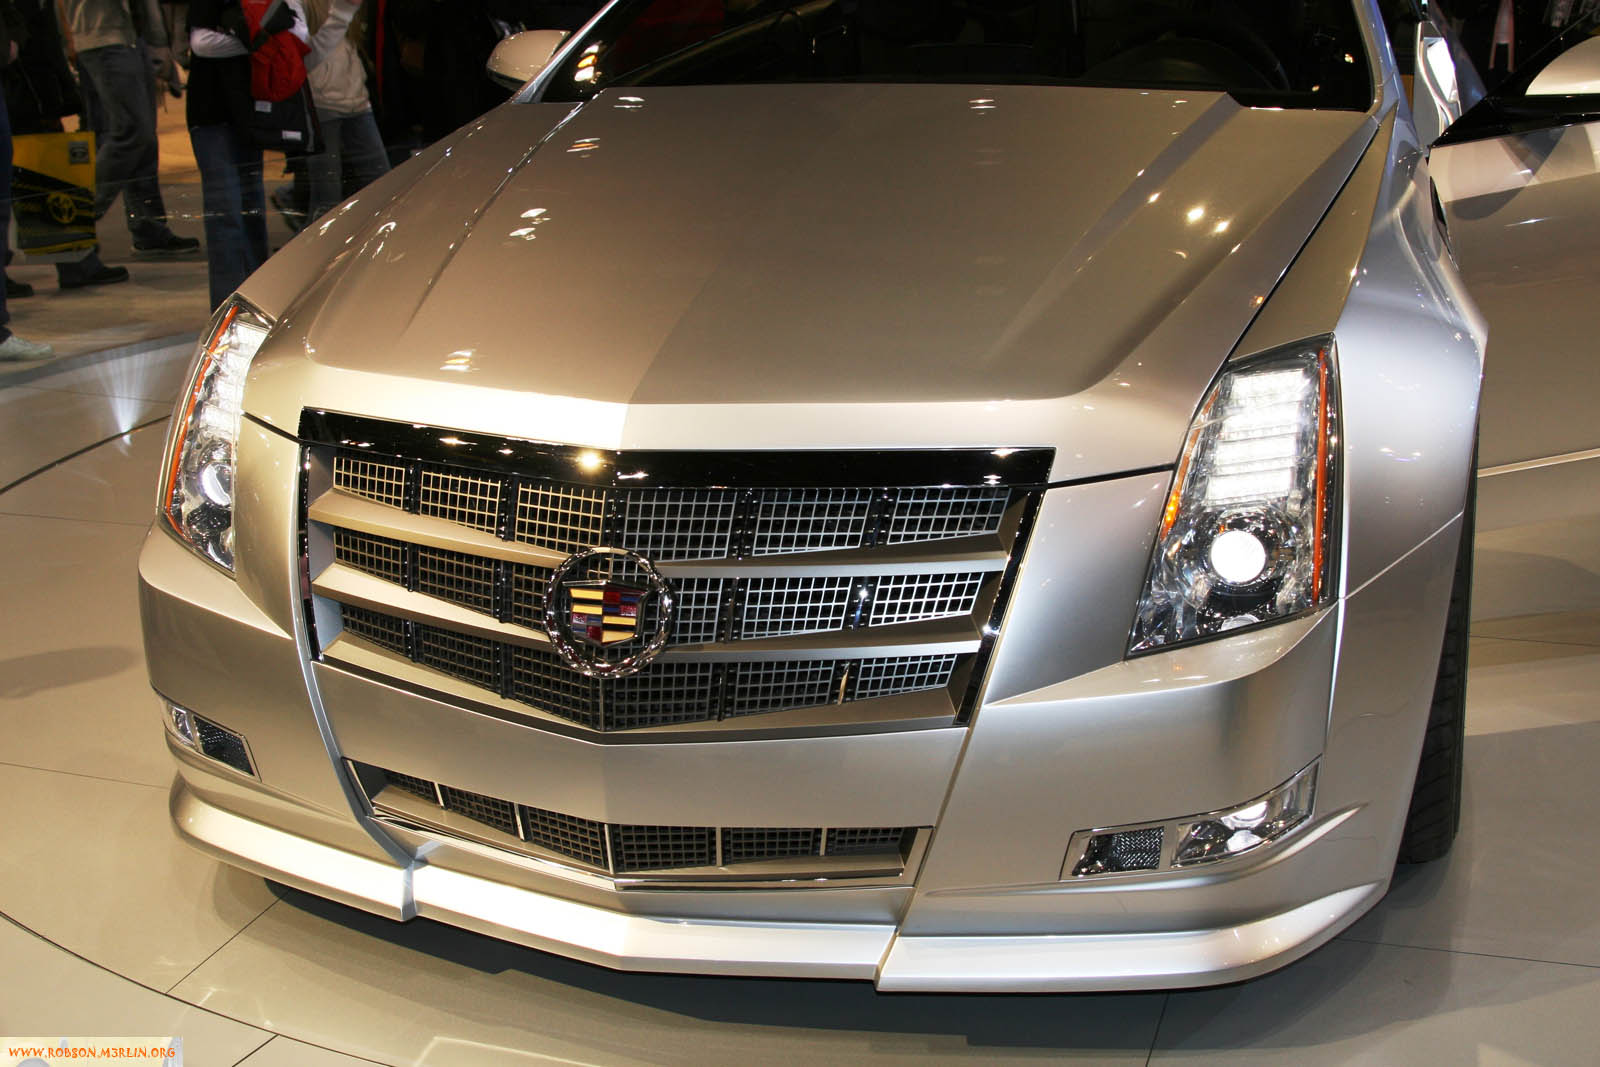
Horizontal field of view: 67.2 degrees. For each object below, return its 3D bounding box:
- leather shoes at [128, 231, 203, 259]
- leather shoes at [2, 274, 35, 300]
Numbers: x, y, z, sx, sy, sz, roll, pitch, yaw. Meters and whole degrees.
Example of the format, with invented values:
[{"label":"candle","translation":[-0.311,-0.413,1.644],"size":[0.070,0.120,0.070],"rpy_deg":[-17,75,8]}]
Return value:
[{"label":"leather shoes","translation":[-3.435,-1.559,6.486],"size":[0.379,0.182,0.133],"rpy_deg":[-5,20,-14]},{"label":"leather shoes","translation":[-3.619,-1.148,5.571],"size":[0.088,0.101,0.241],"rpy_deg":[-10,29,-27]}]
